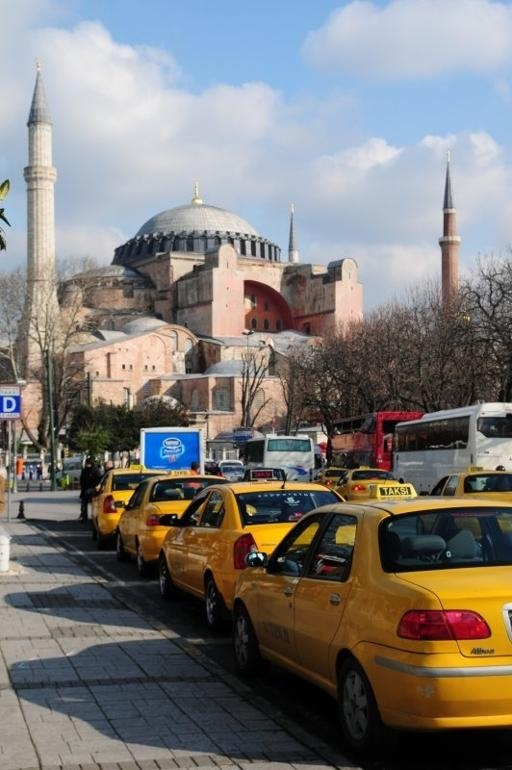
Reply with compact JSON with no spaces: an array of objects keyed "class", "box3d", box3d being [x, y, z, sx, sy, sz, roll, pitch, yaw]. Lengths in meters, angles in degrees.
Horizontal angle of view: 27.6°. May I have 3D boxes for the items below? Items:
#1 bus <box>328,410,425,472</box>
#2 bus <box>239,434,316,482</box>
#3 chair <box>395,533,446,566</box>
[{"class":"bus","box3d":[4.229,1.943,35.961,1.502,1.789,4.224,1,0,-13]},{"class":"bus","box3d":[0.559,2.225,33.544,1.489,1.385,2.590,1,2,-27]},{"class":"chair","box3d":[0.863,0.858,5.403,0.141,0.191,0.176,-1,10,-15]}]
